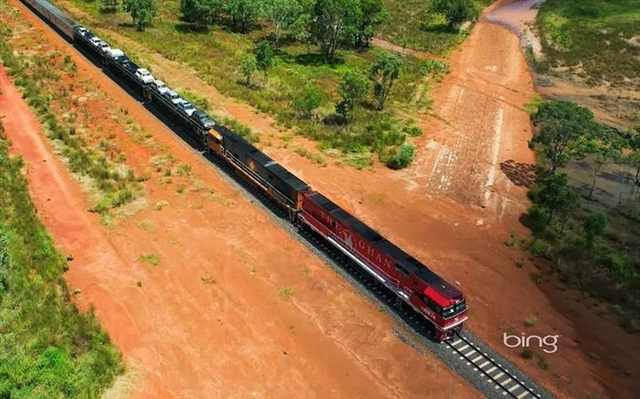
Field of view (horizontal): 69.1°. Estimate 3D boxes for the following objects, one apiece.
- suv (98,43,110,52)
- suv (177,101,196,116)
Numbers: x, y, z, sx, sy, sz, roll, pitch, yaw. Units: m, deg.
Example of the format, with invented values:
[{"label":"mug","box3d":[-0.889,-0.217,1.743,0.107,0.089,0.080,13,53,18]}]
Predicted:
[{"label":"suv","box3d":[-36.898,-26.155,79.081,1.201,1.006,2.044,-24,64,-35]},{"label":"suv","box3d":[-19.289,-13.383,66.686,1.488,1.240,3.051,-29,50,-19]}]
